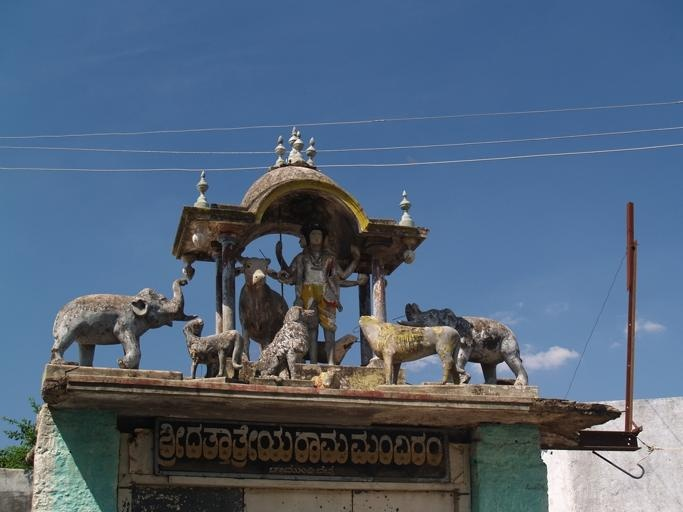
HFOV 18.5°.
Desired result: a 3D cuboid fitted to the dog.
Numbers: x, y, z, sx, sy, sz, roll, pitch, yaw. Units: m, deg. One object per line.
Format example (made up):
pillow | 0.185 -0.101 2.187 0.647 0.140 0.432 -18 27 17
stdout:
dog | -0.946 1.727 41.282 1.263 1.529 0.587 8 -15 -36
